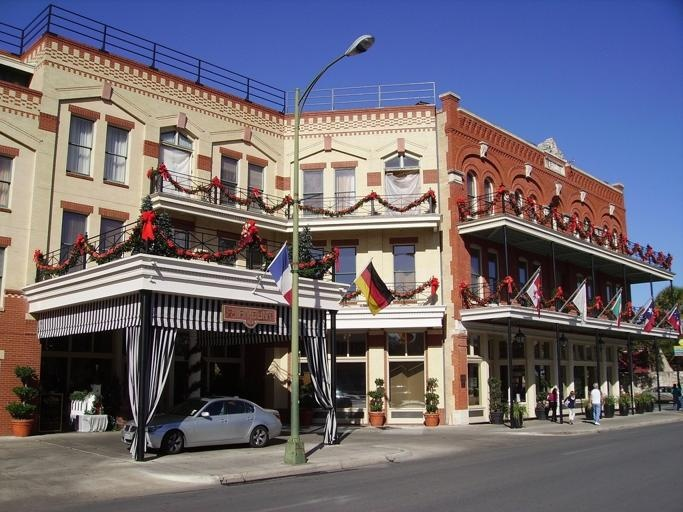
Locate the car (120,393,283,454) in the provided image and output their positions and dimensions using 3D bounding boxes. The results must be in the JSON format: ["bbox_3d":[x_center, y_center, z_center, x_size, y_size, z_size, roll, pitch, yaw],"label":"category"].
[{"bbox_3d":[-4.703,6.011,25.031,4.993,1.778,2.173,9,-15,-32],"label":"car"}]

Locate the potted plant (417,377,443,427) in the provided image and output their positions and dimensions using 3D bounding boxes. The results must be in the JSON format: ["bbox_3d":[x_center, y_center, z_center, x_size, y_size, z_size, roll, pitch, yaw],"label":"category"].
[{"bbox_3d":[4.599,7.327,34.370,0.895,2.345,0.917,2,-15,-10],"label":"potted plant"}]

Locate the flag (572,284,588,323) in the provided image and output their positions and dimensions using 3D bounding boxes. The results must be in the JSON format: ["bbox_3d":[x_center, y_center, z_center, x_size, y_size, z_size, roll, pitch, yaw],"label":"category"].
[{"bbox_3d":[13.104,2.533,37.819,0.684,1.853,1.316,-5,-16,16],"label":"flag"}]

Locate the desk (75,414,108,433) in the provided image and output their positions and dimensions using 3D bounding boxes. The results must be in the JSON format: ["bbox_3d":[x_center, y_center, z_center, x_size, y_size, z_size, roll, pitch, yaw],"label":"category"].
[{"bbox_3d":[-10.748,7.172,29.460,0.866,0.609,0.858,7,-13,-37],"label":"desk"}]

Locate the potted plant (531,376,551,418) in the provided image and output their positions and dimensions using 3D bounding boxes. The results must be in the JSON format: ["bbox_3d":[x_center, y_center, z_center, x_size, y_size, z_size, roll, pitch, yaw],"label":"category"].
[{"bbox_3d":[11.652,8.157,39.721,0.844,2.562,3.174,-5,-17,19],"label":"potted plant"}]

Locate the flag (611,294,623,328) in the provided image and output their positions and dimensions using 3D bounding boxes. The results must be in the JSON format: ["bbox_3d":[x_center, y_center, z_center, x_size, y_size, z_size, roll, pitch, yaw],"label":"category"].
[{"bbox_3d":[16.870,3.266,42.015,0.511,1.707,3.074,-7,-18,22],"label":"flag"}]

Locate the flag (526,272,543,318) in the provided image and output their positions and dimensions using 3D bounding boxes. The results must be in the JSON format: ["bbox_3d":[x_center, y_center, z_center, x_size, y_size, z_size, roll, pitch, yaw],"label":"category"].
[{"bbox_3d":[9.684,1.712,34.482,0.627,1.854,1.469,-6,-17,20],"label":"flag"}]

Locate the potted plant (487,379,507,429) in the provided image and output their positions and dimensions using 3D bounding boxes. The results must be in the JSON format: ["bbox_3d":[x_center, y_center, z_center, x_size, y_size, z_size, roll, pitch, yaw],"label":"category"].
[{"bbox_3d":[8.180,7.589,35.984,0.912,2.381,1.204,-4,-16,12],"label":"potted plant"}]

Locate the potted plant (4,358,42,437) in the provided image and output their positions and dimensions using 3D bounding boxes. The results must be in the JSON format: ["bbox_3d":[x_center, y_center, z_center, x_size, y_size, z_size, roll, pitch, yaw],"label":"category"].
[{"bbox_3d":[-12.776,5.800,27.595,1.180,2.805,1.072,8,-17,-27],"label":"potted plant"}]

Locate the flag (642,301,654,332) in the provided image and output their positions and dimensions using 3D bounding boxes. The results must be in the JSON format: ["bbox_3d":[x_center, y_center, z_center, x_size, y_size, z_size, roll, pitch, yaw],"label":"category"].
[{"bbox_3d":[19.603,3.923,43.807,0.698,1.848,2.630,-7,-18,24],"label":"flag"}]
